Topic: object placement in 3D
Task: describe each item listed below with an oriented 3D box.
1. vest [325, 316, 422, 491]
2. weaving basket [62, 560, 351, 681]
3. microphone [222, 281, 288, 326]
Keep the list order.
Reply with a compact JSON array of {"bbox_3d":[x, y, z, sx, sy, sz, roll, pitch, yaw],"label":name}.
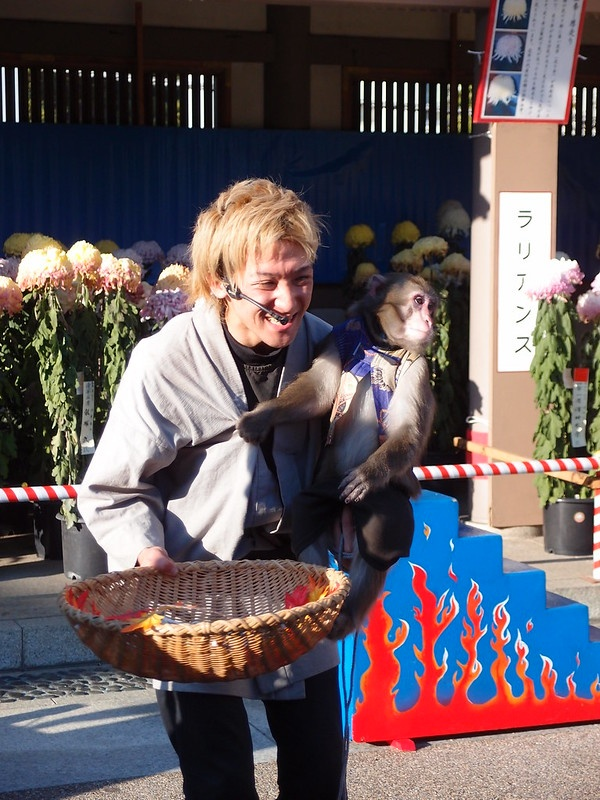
[{"bbox_3d":[0.139,0.004,2.116,0.234,0.355,0.312,-1,18,-5],"label":"vest"},{"bbox_3d":[-0.143,0.372,1.569,0.532,0.128,0.484,0,-1,-5],"label":"weaving basket"},{"bbox_3d":[-0.088,-0.191,1.756,0.099,0.074,0.125,-2,17,-10],"label":"microphone"}]
